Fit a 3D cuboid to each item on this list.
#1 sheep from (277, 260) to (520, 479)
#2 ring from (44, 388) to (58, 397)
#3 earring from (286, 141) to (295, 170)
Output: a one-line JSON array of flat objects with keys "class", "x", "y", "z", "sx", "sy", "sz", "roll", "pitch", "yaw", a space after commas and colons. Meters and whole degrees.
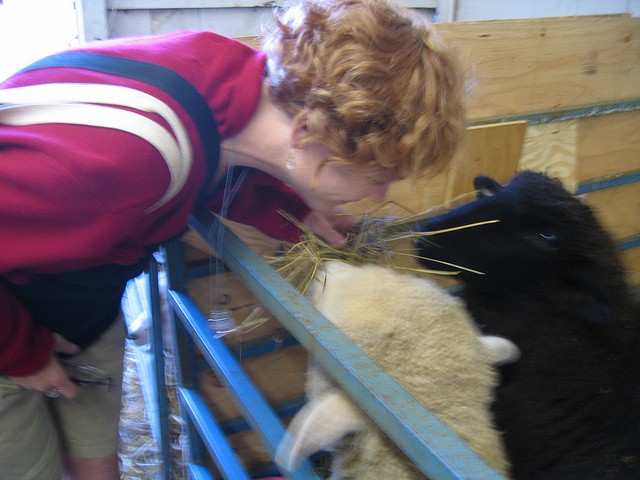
[{"class": "sheep", "x": 0.065, "y": 0.201, "z": 0.964, "sx": 0.378, "sy": 0.283, "sz": 0.181, "roll": -15, "pitch": -8, "yaw": -27}, {"class": "ring", "x": -0.666, "y": 0.377, "z": 1.445, "sx": 0.045, "sy": 0.014, "sz": 0.016, "roll": -13, "pitch": 19, "yaw": 40}, {"class": "earring", "x": -0.058, "y": -0.163, "z": 1.140, "sx": 0.017, "sy": 0.050, "sz": 0.013, "roll": -2, "pitch": 29, "yaw": 8}]
